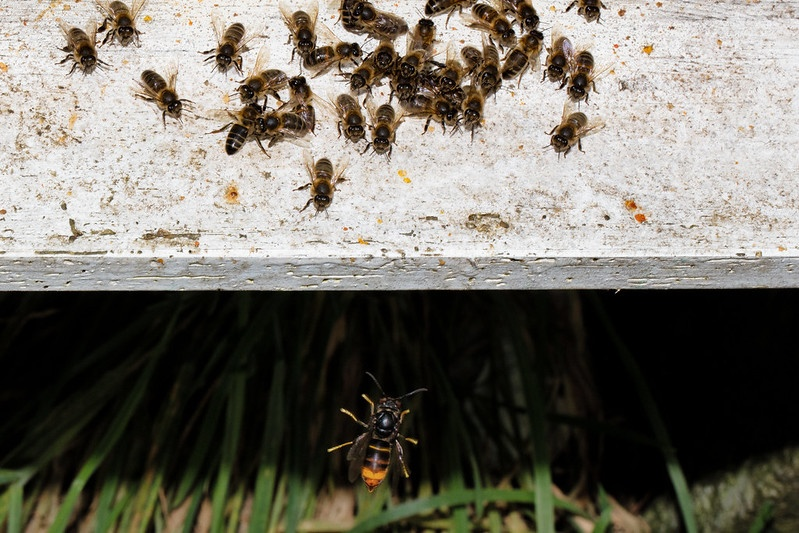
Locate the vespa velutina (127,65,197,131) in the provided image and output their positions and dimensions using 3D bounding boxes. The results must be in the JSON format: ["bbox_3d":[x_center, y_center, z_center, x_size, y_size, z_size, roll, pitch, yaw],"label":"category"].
[{"bbox_3d":[-1.074,-0.775,3.948,0.208,0.288,0.080,-32,-21,-10],"label":"vespa velutina"}]

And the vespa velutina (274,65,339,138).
[{"bbox_3d":[-0.428,-0.757,3.975,0.199,0.296,0.095,-8,-32,-14],"label":"vespa velutina"}]

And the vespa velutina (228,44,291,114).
[{"bbox_3d":[-0.640,-0.843,3.925,0.205,0.265,0.109,48,-20,-7],"label":"vespa velutina"}]

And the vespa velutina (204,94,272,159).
[{"bbox_3d":[-0.726,-0.629,3.914,0.270,0.252,0.101,4,-34,-1],"label":"vespa velutina"}]

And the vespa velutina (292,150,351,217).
[{"bbox_3d":[-0.345,-0.370,3.862,0.185,0.273,0.089,10,-32,0],"label":"vespa velutina"}]
